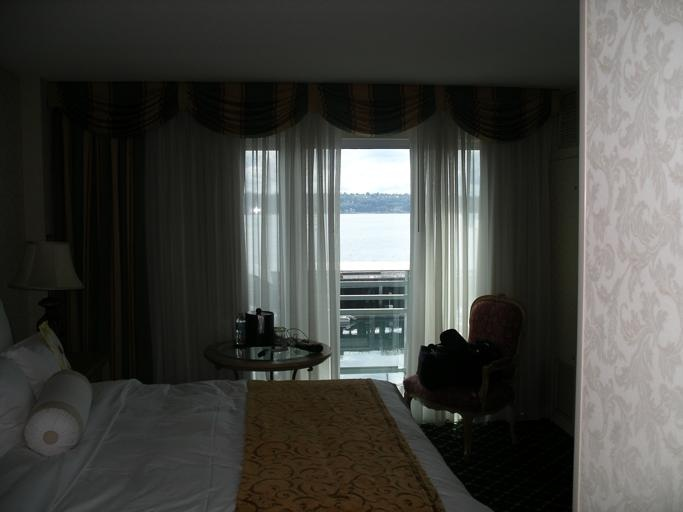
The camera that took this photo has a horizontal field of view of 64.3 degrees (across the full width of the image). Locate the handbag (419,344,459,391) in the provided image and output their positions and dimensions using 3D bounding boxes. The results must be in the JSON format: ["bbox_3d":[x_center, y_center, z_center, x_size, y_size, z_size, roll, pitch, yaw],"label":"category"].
[{"bbox_3d":[0.687,0.811,3.959,0.233,0.278,0.307,2,5,-4],"label":"handbag"}]

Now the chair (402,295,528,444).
[{"bbox_3d":[0.912,0.817,4.142,0.744,1.103,0.780,6,3,41],"label":"chair"}]

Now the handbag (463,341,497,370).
[{"bbox_3d":[1.050,0.740,4.032,0.213,0.105,0.161,-1,7,-34],"label":"handbag"}]

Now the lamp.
[{"bbox_3d":[-2.003,0.290,3.717,0.411,0.725,0.422,0,0,6],"label":"lamp"}]

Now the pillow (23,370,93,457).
[{"bbox_3d":[-1.335,0.748,2.534,0.173,0.228,0.389,10,10,-22],"label":"pillow"}]
